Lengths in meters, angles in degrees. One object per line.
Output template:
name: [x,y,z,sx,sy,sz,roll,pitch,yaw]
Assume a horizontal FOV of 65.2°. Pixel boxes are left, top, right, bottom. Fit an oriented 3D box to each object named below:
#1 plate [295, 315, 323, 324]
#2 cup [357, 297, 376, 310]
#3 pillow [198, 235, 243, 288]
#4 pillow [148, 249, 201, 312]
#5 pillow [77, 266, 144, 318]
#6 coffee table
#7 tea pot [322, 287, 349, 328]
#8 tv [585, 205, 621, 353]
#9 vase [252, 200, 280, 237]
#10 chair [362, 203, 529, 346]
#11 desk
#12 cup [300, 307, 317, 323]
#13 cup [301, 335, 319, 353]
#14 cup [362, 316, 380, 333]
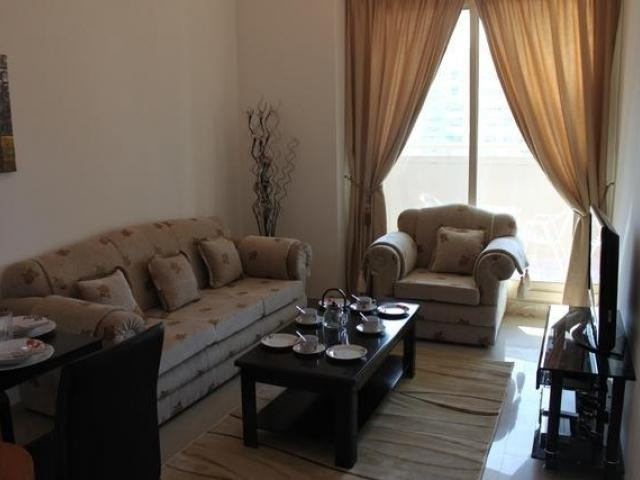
plate: [-0.071,0.545,3.423,0.092,0.022,0.098,3,10,8]
cup: [0.341,0.468,3.685,0.083,0.085,0.119,2,10,2]
pillow: [-0.843,0.202,4.462,0.214,0.410,0.465,5,10,26]
pillow: [-1.126,0.321,3.953,0.231,0.420,0.451,3,9,21]
pillow: [-1.434,0.396,3.402,0.240,0.281,0.337,9,17,36]
coffee table: [-0.008,0.567,3.018,0.678,0.505,1.210,3,8,27]
tea pot: [0.111,0.480,3.508,0.193,0.302,0.280,-1,9,-6]
tv: [1.775,0.265,3.134,0.079,0.627,0.802,-2,14,23]
vase: [-0.563,-0.227,5.281,0.275,0.501,0.119,1,-30,-12]
chair: [1.211,0.305,4.636,1.391,1.143,1.146,4,9,37]
desk: [1.538,0.911,2.871,0.298,0.431,0.806,6,13,20]
cup: [-0.076,0.520,3.433,0.101,0.077,0.081,0,1,42]
cup: [-0.063,0.633,3.036,0.090,0.073,0.086,3,1,0]
cup: [0.334,0.546,3.267,0.099,0.079,0.082,4,12,15]
